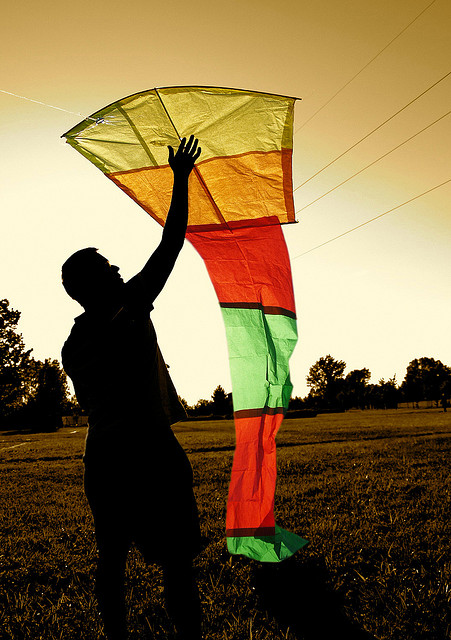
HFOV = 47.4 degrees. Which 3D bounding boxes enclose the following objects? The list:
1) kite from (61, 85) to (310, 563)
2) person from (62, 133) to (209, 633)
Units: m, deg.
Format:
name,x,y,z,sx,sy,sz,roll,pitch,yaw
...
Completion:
name,x,y,z,sx,sy,sz,roll,pitch,yaw
kite,-0.119,0.198,3.628,1.646,3.209,1.477,-3,4,-24
person,-0.369,0.235,2.095,0.635,1.975,0.487,-5,-10,-1
